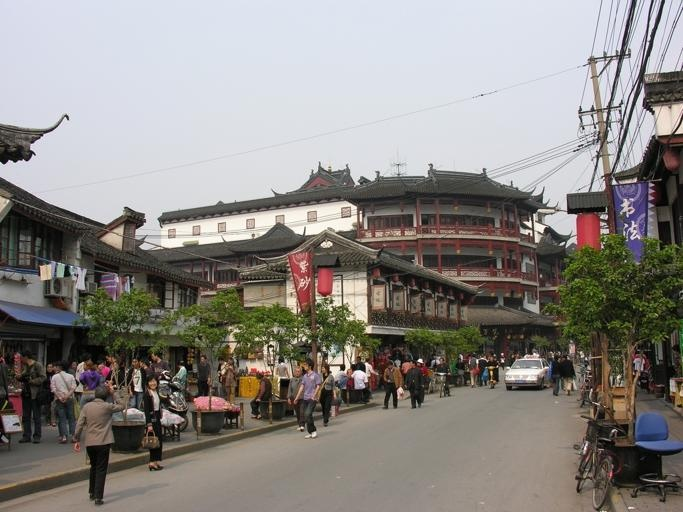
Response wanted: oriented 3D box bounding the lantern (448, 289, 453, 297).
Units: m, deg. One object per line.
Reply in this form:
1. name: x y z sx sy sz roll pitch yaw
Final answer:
1. lantern: 9.585 3.422 62.124 0.349 0.727 1.379 -6 -11 16

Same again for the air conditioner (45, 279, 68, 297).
1. air conditioner: -12.202 1.397 30.458 0.322 0.873 1.275 -6 -11 18

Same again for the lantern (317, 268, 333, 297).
1. lantern: -0.779 1.249 33.966 0.670 1.276 0.707 -2 -10 -7

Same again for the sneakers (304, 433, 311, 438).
1. sneakers: -1.030 5.615 21.882 0.137 0.162 0.392 -2 -13 3

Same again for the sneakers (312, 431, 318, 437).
1. sneakers: -0.827 5.524 21.725 0.234 0.123 0.502 3 -5 -2

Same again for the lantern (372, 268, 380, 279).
1. lantern: 2.242 1.177 45.716 0.546 1.083 0.567 -2 -3 2

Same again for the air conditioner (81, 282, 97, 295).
1. air conditioner: -11.184 1.500 31.513 0.322 0.447 0.620 0 -5 10

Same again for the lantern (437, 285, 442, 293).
1. lantern: 8.067 2.853 58.690 0.383 0.712 0.717 -3 -3 21

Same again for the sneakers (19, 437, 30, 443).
1. sneakers: -9.172 5.424 20.623 0.287 0.133 0.156 2 -14 8

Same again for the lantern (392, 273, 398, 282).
1. lantern: 3.693 1.548 49.229 0.391 0.416 0.743 9 15 -5

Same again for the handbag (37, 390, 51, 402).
1. handbag: -8.821 4.217 21.112 0.248 0.343 0.451 -7 -7 18

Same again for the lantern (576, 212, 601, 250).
1. lantern: 8.860 -0.891 25.495 0.821 1.365 1.115 -6 -11 19
